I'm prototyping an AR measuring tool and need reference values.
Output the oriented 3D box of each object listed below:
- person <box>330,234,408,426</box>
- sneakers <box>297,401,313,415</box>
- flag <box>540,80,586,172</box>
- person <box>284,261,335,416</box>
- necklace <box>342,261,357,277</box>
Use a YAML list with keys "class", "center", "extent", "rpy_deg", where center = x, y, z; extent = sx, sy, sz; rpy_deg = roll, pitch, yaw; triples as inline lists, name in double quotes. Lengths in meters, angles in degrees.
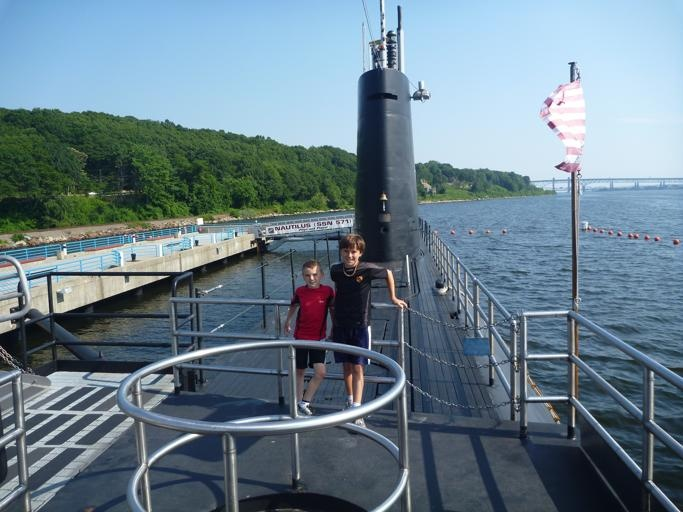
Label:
- class: "person"
  center: [0.228, 0.807, 6.599]
  extent: [0.711, 2.080, 0.818]
  rpy_deg: [-2, 9, 2]
- class: "sneakers"
  center: [-0.421, 1.666, 6.656]
  extent: [0.141, 0.164, 0.258]
  rpy_deg: [-3, 9, -6]
- class: "flag"
  center: [2.592, -1.519, 7.107]
  extent: [0.475, 1.075, 0.384]
  rpy_deg: [1, 9, 17]
- class: "person"
  center: [-0.350, 0.972, 6.718]
  extent: [0.551, 1.829, 1.143]
  rpy_deg: [-3, 9, -5]
- class: "necklace"
  center: [0.084, 0.157, 6.539]
  extent: [0.147, 0.119, 0.057]
  rpy_deg: [-2, 9, -2]
